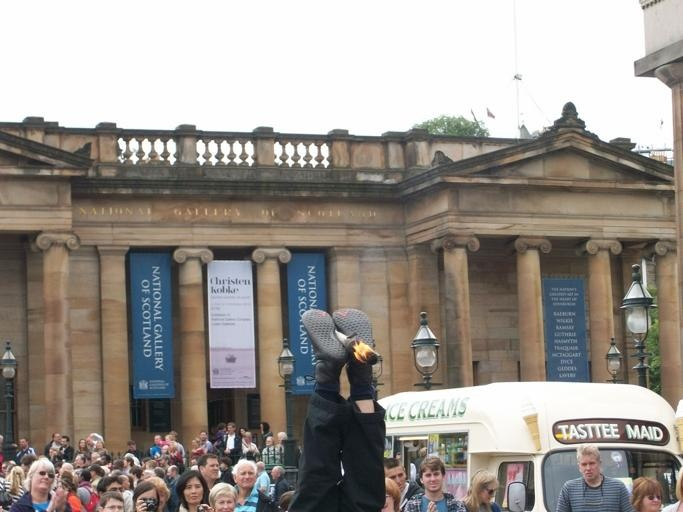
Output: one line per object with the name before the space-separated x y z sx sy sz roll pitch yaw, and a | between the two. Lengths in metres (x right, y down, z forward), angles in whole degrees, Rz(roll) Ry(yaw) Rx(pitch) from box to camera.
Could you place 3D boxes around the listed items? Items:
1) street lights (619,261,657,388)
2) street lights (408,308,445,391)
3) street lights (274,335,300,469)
street lights | 7.621 2.125 50.822 0.957 3.420 0.893 -5 3 -31
street lights | 2.312 2.651 55.704 0.920 2.014 0.813 -3 -1 -7
street lights | -1.609 4.443 59.415 0.938 3.607 0.830 -8 6 -31
